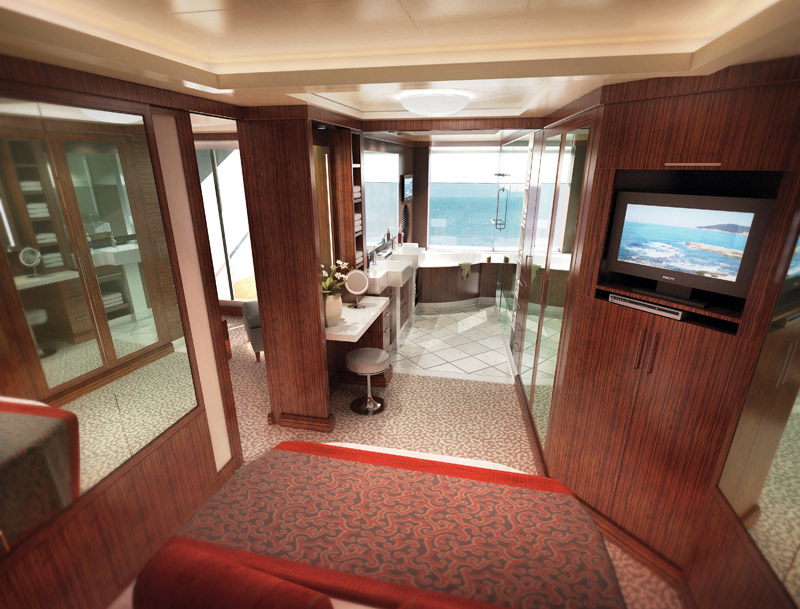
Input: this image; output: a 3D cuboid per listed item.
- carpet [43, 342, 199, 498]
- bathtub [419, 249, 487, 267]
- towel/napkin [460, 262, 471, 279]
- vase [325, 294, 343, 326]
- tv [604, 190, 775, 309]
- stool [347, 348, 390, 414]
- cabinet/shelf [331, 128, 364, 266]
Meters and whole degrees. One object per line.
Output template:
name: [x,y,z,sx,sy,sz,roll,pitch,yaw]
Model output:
carpet: [-1.348,0.566,2.683,0.753,0.178,1.028,-12,29,-39]
bathtub: [0.838,-0.728,7.413,1.029,0.212,0.860,2,16,4]
towel/napkin: [0.960,-0.526,7.237,0.071,0.224,0.205,16,29,29]
vase: [-0.559,0.042,4.107,0.087,0.296,0.210,9,20,23]
tv: [1.568,-0.313,2.695,0.260,0.603,0.916,-8,19,-27]
stool: [-0.283,0.711,4.636,0.587,0.571,0.552,-1,21,-1]
cabinet/shelf: [-0.483,-0.995,4.602,0.182,1.294,0.428,7,20,16]
